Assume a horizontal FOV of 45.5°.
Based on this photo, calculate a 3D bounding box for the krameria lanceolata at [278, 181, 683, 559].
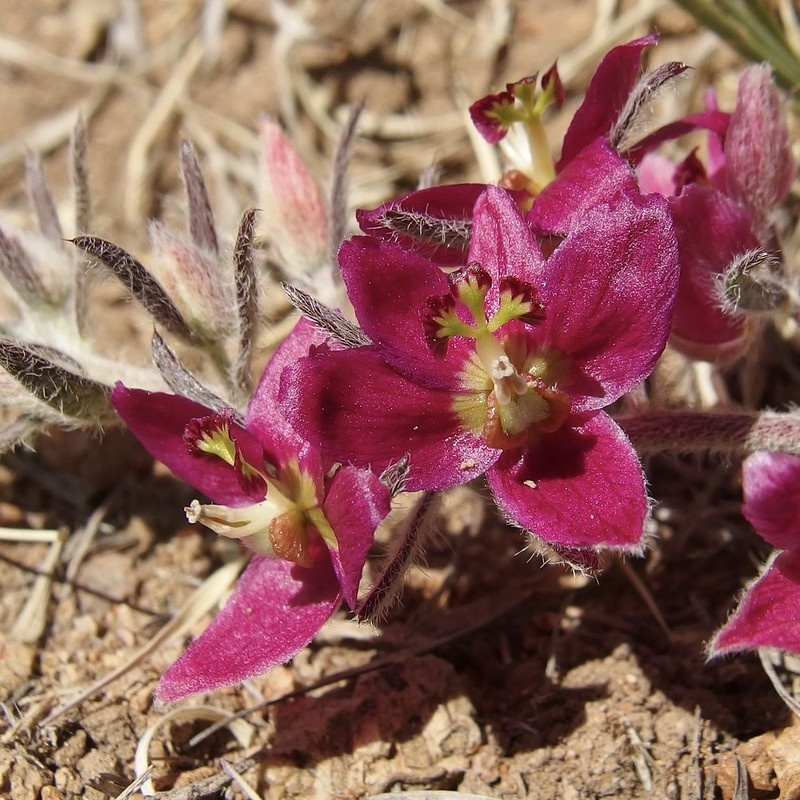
[{"bbox_3d":[0.148,-0.068,1.627,0.597,0.415,0.555,6,45,22],"label":"krameria lanceolata"}]
